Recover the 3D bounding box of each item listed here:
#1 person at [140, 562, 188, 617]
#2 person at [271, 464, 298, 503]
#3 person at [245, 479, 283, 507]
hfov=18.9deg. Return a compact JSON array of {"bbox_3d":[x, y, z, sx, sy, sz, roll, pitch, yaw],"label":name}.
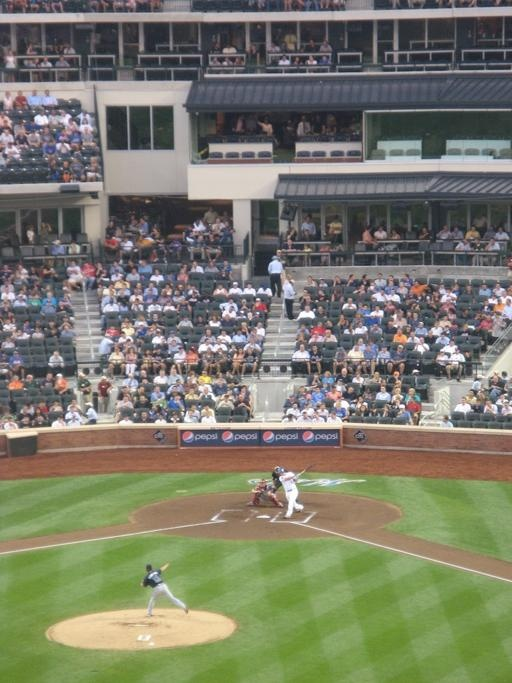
[{"bbox_3d":[-1.885,4.892,30.609,0.809,1.122,0.489,-4,-21,-45],"label":"person"},{"bbox_3d":[0.745,3.376,36.633,0.451,0.824,0.870,-3,10,-15],"label":"person"},{"bbox_3d":[0.291,3.661,37.758,0.572,0.484,0.743,5,1,-4],"label":"person"}]
